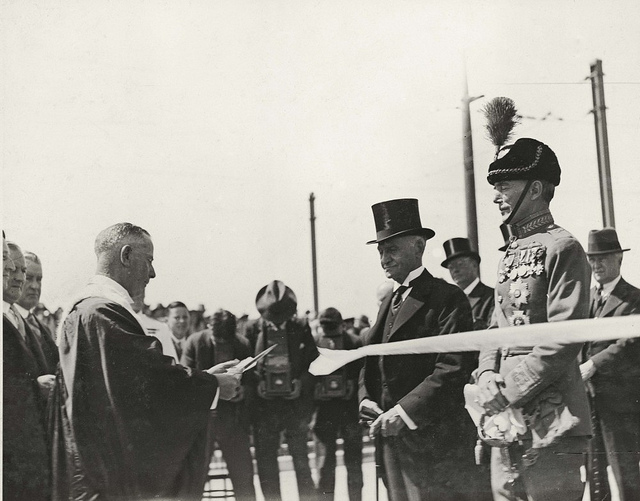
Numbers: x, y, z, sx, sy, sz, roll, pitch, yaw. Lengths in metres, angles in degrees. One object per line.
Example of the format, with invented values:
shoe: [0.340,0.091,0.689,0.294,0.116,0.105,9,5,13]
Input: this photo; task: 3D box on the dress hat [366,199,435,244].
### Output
dress hat: [0.428,-0.164,7.494,0.377,0.221,0.077,-6,-15,2]

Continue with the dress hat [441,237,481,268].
dress hat: [0.760,-0.001,7.541,0.191,0.092,0.186,-22,-11,3]

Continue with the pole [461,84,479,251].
pole: [0.811,-0.465,7.521,0.109,0.728,0.109,2,3,-16]

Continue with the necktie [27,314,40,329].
necktie: [-1.591,0.391,7.466,0.062,0.075,0.010,-3,-16,-11]

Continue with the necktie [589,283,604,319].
necktie: [1.529,0.280,7.529,0.112,0.192,0.040,-2,-16,-15]

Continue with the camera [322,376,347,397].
camera: [0.073,0.752,7.449,0.126,0.108,0.118,-1,-5,2]

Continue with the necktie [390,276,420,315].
necktie: [0.458,0.249,7.439,0.172,0.183,0.040,-15,-18,31]

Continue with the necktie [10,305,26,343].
necktie: [-1.664,0.400,7.462,0.016,0.274,0.047,-18,-5,-25]
